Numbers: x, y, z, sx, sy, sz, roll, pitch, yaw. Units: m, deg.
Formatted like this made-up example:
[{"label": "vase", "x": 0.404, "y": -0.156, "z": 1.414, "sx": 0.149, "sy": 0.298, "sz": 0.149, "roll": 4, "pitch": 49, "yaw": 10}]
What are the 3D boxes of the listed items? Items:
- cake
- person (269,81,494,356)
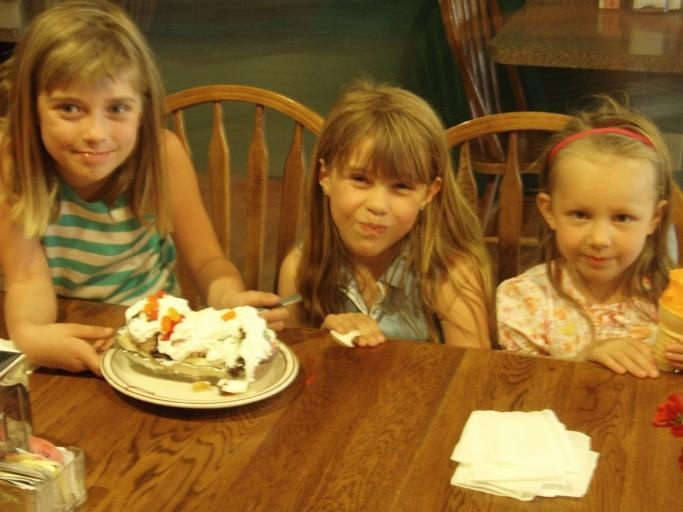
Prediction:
[{"label": "cake", "x": -0.222, "y": 0.120, "z": 0.879, "sx": 0.191, "sy": 0.070, "sz": 0.144, "roll": 8, "pitch": 28, "yaw": 9}, {"label": "person", "x": 0.105, "y": -0.047, "z": 1.488, "sx": 0.564, "sy": 0.677, "sz": 0.412, "roll": 2, "pitch": 15, "yaw": -3}]
